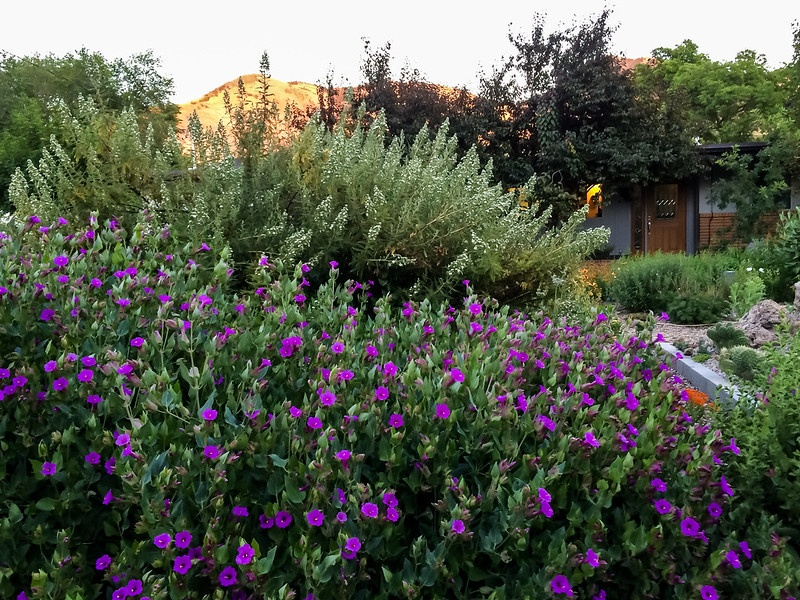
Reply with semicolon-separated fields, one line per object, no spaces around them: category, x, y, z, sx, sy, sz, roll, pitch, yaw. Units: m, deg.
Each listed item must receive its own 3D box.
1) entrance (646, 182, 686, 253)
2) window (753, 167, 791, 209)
entrance;10.149;-2.998;20.391;1.277;3.687;0.483;4;41;32
window;13.077;-3.807;18.673;1.172;1.227;2.474;15;18;35
